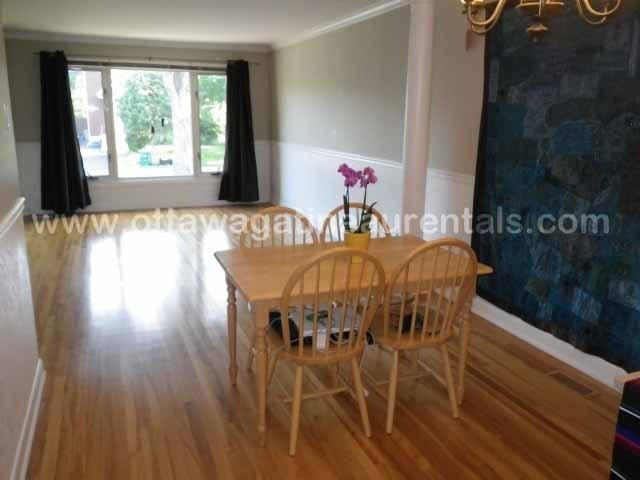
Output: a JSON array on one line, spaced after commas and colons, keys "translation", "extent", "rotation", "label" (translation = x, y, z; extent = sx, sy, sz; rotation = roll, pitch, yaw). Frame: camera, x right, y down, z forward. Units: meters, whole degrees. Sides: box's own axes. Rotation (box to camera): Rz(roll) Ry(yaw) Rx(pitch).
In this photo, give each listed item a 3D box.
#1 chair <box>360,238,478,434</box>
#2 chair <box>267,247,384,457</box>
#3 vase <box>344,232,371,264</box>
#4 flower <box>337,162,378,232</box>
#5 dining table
[{"translation": [0.565, 0.484, 2.884], "extent": [0.551, 1.179, 0.511], "rotation": [-3, 19, -12], "label": "chair"}, {"translation": [-0.014, 0.542, 2.811], "extent": [0.595, 1.156, 0.741], "rotation": [-1, 14, -9], "label": "chair"}, {"translation": [0.233, 0.043, 2.963], "extent": [0.160, 0.205, 0.177], "rotation": [1, 8, 2], "label": "vase"}, {"translation": [0.230, -0.222, 2.974], "extent": [0.225, 0.444, 0.257], "rotation": [5, -2, -42], "label": "flower"}, {"translation": [-0.148, 0.746, 3.295], "extent": [1.808, 0.948, 0.983], "rotation": [-9, 26, -22], "label": "dining table"}]
